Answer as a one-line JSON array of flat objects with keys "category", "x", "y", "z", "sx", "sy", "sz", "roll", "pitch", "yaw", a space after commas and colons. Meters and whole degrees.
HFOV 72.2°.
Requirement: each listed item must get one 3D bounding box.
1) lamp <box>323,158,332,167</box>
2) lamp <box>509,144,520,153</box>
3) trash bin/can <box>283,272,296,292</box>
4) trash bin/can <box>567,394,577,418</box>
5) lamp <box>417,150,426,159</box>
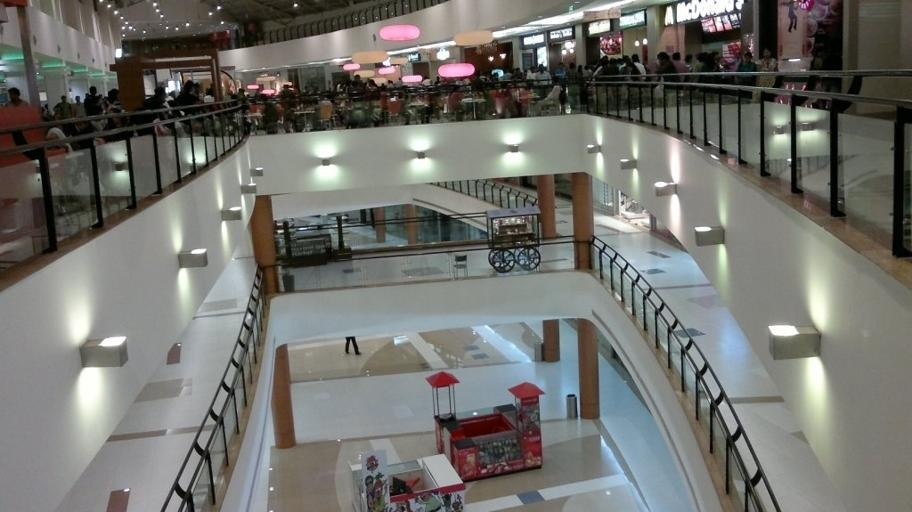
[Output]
[{"category": "lamp", "x": -3.428, "y": -2.493, "z": 16.554, "sx": 0.244, "sy": 0.204, "sz": 0.206, "roll": -9, "pitch": 12, "yaw": -9}, {"category": "lamp", "x": 1.557, "y": -2.891, "z": 16.817, "sx": 0.265, "sy": 0.204, "sz": 0.193, "roll": -4, "pitch": 12, "yaw": -21}, {"category": "trash bin/can", "x": -4.384, "y": 0.666, "z": 16.407, "sx": 0.329, "sy": 0.463, "sz": 0.262, "roll": -10, "pitch": 12, "yaw": -12}, {"category": "trash bin/can", "x": 3.344, "y": 4.336, "z": 18.195, "sx": 0.308, "sy": 0.629, "sz": 0.364, "roll": -6, "pitch": 12, "yaw": 8}, {"category": "lamp", "x": -0.927, "y": -2.736, "z": 16.777, "sx": 0.236, "sy": 0.174, "sz": 0.226, "roll": 1, "pitch": -31, "yaw": 0}]
